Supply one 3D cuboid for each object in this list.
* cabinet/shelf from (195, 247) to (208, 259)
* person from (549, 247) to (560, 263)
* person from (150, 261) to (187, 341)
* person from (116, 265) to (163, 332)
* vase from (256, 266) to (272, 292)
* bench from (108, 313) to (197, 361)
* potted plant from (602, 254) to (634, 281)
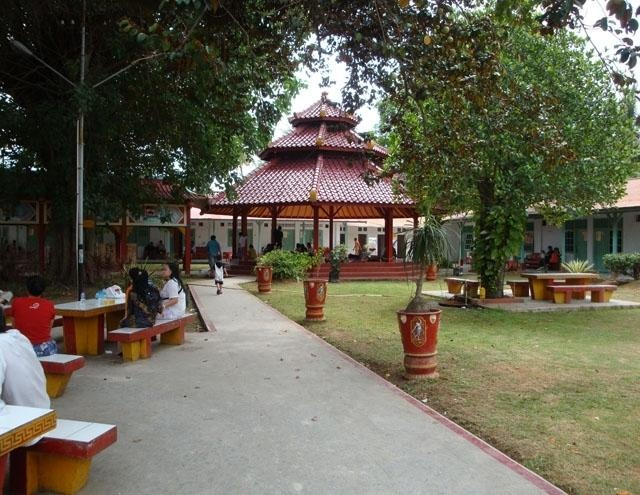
[{"bbox_3d":[-8.900,0.475,36.707,0.686,0.781,0.538,2,-5,-17],"label":"cabinet/shelf"},{"bbox_3d":[13.458,0.507,28.203,0.491,0.848,0.866,-2,-1,27],"label":"person"},{"bbox_3d":[-3.099,0.864,9.767,0.763,1.098,0.717,-1,2,11],"label":"person"},{"bbox_3d":[-3.375,0.992,9.057,0.664,1.179,0.700,-2,-3,-34],"label":"person"},{"bbox_3d":[-1.993,1.177,17.591,0.456,0.957,0.653,-1,-1,-13],"label":"vase"},{"bbox_3d":[-3.131,1.702,9.387,0.423,0.562,2.176,-2,0,13],"label":"bench"},{"bbox_3d":[14.312,0.957,23.209,1.064,1.170,1.087,0,2,-35],"label":"potted plant"}]
